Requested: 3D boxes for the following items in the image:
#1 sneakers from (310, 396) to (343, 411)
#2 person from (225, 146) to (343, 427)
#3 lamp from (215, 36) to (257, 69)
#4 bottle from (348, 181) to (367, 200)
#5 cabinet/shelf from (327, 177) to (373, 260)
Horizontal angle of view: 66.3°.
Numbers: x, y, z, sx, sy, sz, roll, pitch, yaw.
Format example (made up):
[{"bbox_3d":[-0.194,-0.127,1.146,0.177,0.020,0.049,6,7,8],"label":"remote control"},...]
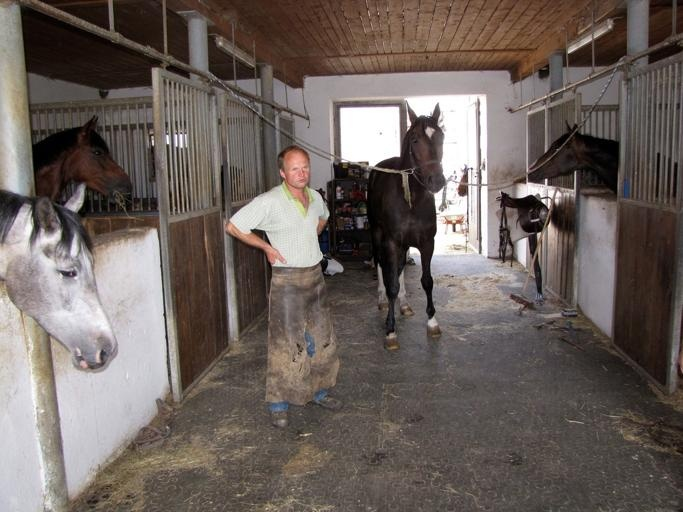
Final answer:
[{"bbox_3d":[-0.127,1.105,4.010,0.221,0.106,0.091,2,21,14],"label":"sneakers"},{"bbox_3d":[-0.379,0.337,3.830,0.742,1.723,0.310,-9,13,-31],"label":"person"},{"bbox_3d":[-1.275,-2.462,6.316,0.102,0.189,0.817,-16,2,19],"label":"lamp"},{"bbox_3d":[0.281,-1.111,9.073,0.267,0.328,0.114,0,12,8],"label":"bottle"},{"bbox_3d":[0.218,-0.672,8.967,0.614,1.350,0.382,-4,6,20],"label":"cabinet/shelf"}]
